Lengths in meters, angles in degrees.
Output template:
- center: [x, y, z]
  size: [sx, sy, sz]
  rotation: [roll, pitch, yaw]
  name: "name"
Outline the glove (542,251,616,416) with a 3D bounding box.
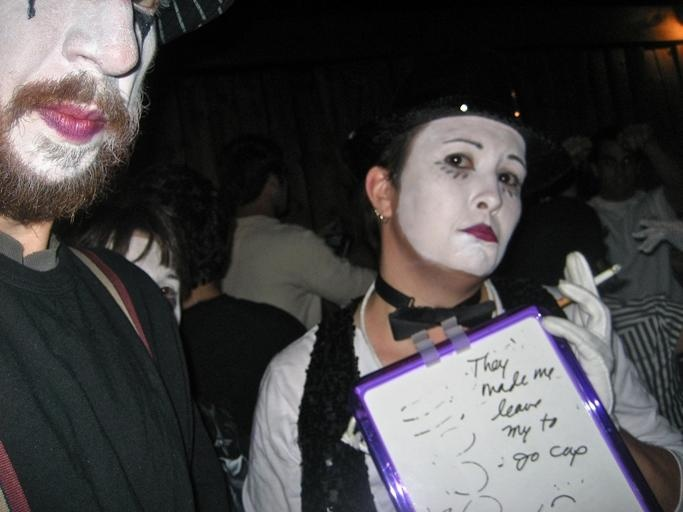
- center: [0.836, 0.311, 2.261]
  size: [0.244, 0.686, 0.247]
  rotation: [10, 42, 27]
  name: "glove"
